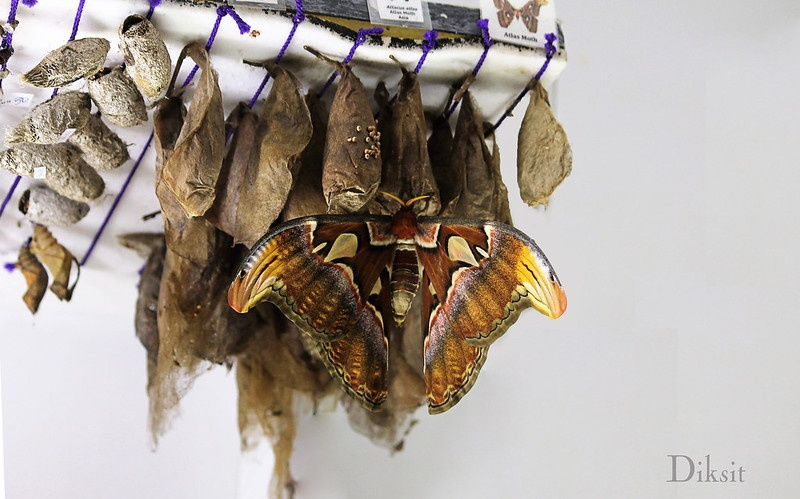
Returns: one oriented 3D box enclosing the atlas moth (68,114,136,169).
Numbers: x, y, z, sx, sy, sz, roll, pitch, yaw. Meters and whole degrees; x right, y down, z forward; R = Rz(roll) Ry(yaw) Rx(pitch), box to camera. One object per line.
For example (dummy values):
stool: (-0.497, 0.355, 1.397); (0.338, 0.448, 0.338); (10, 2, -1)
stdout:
atlas moth: (-0.917, -0.311, 3.541); (0.182, 0.122, 0.291); (14, -10, -33)

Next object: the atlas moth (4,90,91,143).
atlas moth: (-0.970, -0.361, 3.308); (0.200, 0.119, 0.078); (-33, 9, -23)

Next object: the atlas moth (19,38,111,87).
atlas moth: (-0.900, -0.507, 3.252); (0.177, 0.129, 0.064); (-27, -16, -15)

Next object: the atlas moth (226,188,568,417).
atlas moth: (-0.007, 0.142, 3.376); (0.911, 0.503, 0.397); (6, -30, 0)

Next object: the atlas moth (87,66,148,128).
atlas moth: (-0.791, -0.426, 3.326); (0.122, 0.062, 0.177); (-36, -72, -3)

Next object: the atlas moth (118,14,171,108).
atlas moth: (-0.726, -0.516, 3.370); (0.179, 0.111, 0.297); (-6, -33, -22)

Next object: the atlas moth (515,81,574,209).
atlas moth: (0.424, -0.310, 3.548); (0.160, 0.320, 0.213); (9, -30, -6)

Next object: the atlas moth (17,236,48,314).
atlas moth: (-1.078, 0.080, 3.499); (0.098, 0.033, 0.260); (-16, -51, -25)
